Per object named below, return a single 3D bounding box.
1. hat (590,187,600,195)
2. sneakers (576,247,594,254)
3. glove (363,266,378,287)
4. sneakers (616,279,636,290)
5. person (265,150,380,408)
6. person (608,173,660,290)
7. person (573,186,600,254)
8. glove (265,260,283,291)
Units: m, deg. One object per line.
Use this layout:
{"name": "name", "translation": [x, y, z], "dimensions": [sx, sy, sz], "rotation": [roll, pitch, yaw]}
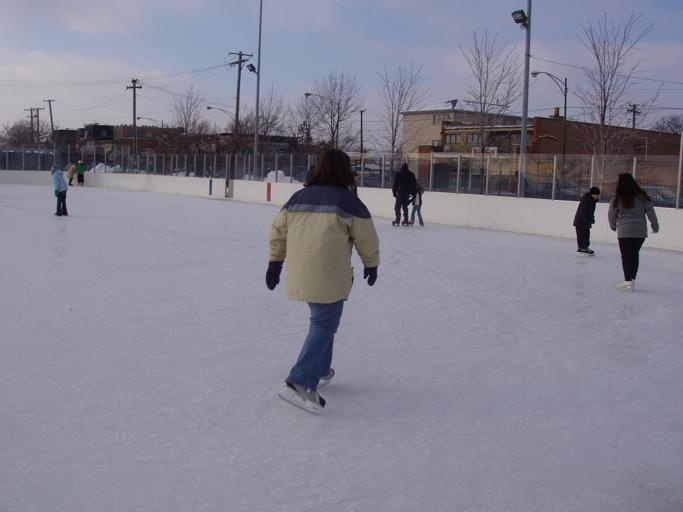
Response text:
{"name": "hat", "translation": [5.900, -1.505, 15.242], "dimensions": [0.212, 0.176, 0.510], "rotation": [5, 11, 20]}
{"name": "sneakers", "translation": [5.709, -0.132, 15.306], "dimensions": [0.335, 0.131, 0.268], "rotation": [5, 10, 20]}
{"name": "glove", "translation": [0.264, 0.206, 5.872], "dimensions": [0.107, 0.219, 0.058], "rotation": [0, 17, -3]}
{"name": "sneakers", "translation": [4.733, 0.468, 10.850], "dimensions": [0.267, 0.187, 0.225], "rotation": [4, 10, 15]}
{"name": "person", "translation": [-0.162, 0.201, 5.804], "dimensions": [0.983, 2.263, 0.500], "rotation": [0, 8, -9]}
{"name": "person", "translation": [4.908, -0.412, 11.083], "dimensions": [0.769, 1.911, 0.936], "rotation": [6, 10, 33]}
{"name": "person", "translation": [5.729, -0.845, 15.369], "dimensions": [0.496, 1.550, 0.815], "rotation": [4, 9, 20]}
{"name": "glove", "translation": [-0.652, 0.147, 5.967], "dimensions": [0.098, 0.294, 0.185], "rotation": [10, 3, 40]}
